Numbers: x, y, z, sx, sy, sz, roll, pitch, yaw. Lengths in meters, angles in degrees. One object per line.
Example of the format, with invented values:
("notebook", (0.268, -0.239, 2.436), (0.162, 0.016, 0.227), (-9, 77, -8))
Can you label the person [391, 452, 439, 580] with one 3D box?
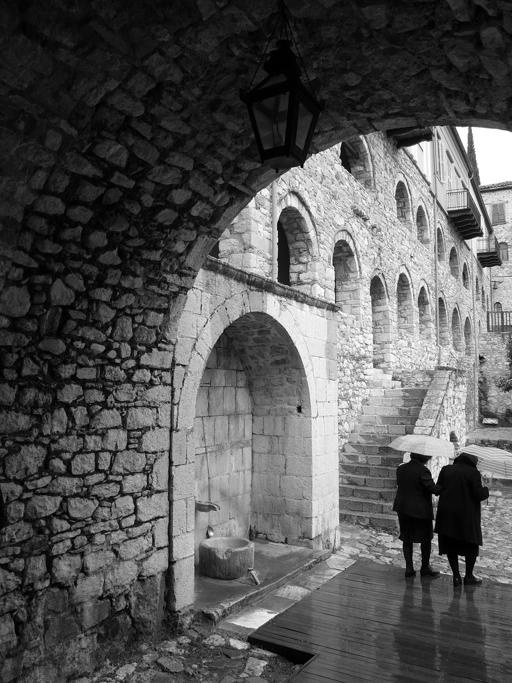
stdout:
("person", (1.528, 1.670, 5.514), (0.405, 1.177, 0.522), (-1, -5, 17))

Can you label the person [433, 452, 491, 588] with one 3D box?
("person", (1.886, 1.641, 5.273), (0.457, 1.183, 0.474), (-2, -5, 21))
